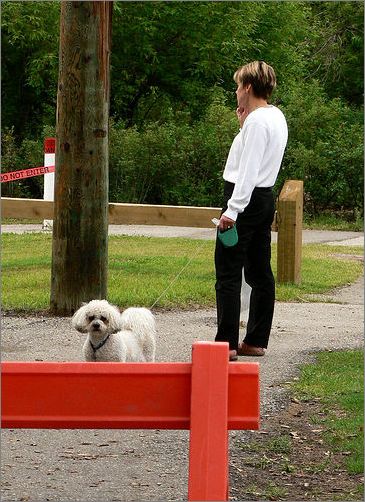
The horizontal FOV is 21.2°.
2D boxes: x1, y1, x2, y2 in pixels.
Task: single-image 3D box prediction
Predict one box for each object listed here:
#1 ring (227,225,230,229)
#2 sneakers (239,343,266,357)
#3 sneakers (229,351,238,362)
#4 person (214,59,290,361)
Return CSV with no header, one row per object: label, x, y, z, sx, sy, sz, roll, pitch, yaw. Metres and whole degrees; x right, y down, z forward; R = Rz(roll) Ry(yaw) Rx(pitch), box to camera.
ring,0.290,-0.162,6.226,0.027,0.017,0.013,5,4,40
sneakers,0.480,0.663,6.798,0.179,0.073,0.074,6,6,7
sneakers,0.334,0.684,6.450,0.051,0.114,0.161,-1,-5,7
person,0.432,-0.260,6.423,0.417,1.992,0.798,3,3,12
